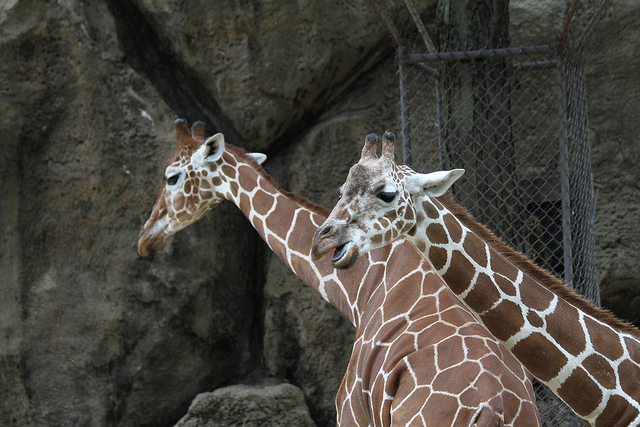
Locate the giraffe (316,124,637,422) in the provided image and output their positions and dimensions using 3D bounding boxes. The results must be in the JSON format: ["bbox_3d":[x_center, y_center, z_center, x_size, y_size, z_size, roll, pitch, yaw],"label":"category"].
[{"bbox_3d":[1.603,0.569,12.115,0.866,2.637,3.229,-22,41,-29],"label":"giraffe"}]
